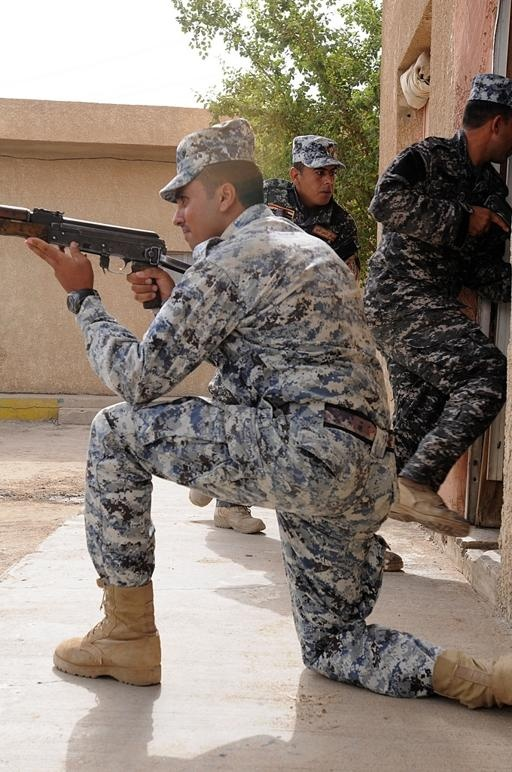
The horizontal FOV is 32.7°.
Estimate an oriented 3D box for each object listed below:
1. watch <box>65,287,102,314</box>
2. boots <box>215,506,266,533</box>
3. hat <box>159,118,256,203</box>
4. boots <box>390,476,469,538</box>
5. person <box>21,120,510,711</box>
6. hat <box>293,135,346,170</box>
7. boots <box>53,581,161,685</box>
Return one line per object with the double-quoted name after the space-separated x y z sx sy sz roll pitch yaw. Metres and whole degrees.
-0.459 -0.226 2.296 0.098 0.053 0.092 -8 -15 -22 "watch"
-0.081 0.650 4.161 0.301 0.104 0.100 -1 -5 35 "boots"
-0.123 -0.601 2.373 0.309 0.150 0.181 -13 12 0 "hat"
0.605 0.396 2.856 0.103 0.109 0.314 -12 17 -44 "boots"
0.014 0.027 2.205 1.199 1.465 0.389 3 4 12 "person"
0.320 -1.233 4.665 0.225 0.127 0.285 0 2 -34 "hat"
-0.375 0.634 2.275 0.376 0.241 0.154 -6 -9 38 "boots"
